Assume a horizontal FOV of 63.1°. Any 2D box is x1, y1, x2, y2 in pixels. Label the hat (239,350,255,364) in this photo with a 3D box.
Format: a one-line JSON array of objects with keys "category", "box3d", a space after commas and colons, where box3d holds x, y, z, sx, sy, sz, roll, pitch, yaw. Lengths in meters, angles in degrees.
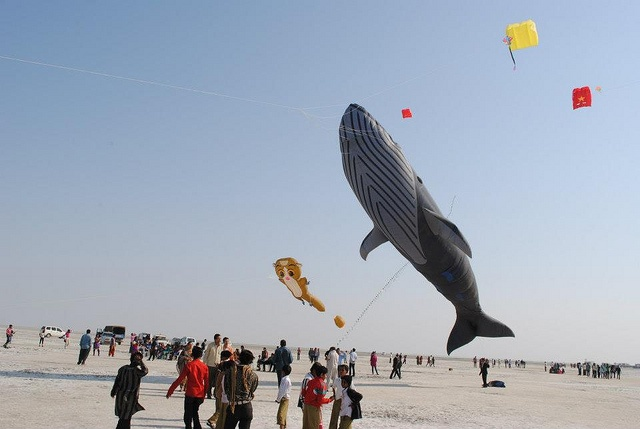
[{"category": "hat", "box3d": [-2.113, 4.050, 14.891, 0.288, 0.429, 0.159, -8, -12, 11]}]
